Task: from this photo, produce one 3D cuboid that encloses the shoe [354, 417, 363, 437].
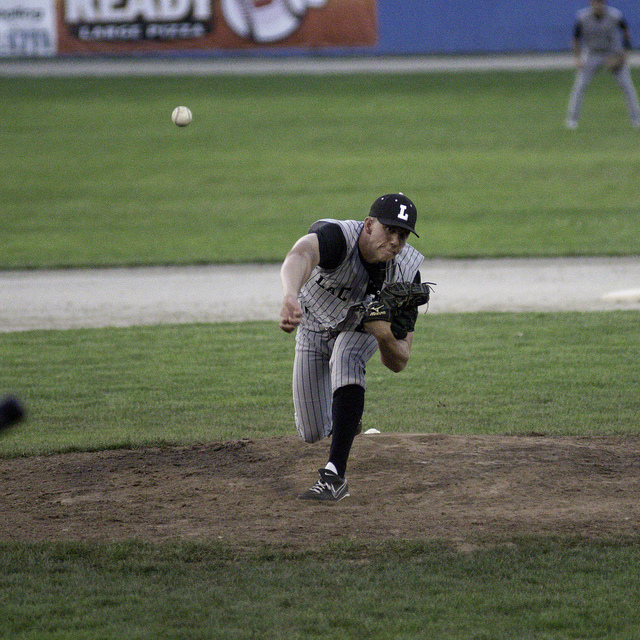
[{"bbox_3d":[0.392,1.235,23.916,0.060,0.220,0.093,17,19,7],"label":"shoe"}]
